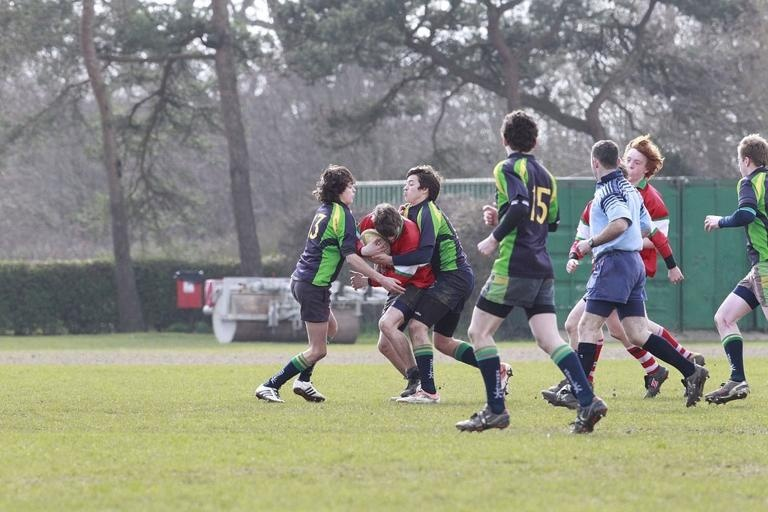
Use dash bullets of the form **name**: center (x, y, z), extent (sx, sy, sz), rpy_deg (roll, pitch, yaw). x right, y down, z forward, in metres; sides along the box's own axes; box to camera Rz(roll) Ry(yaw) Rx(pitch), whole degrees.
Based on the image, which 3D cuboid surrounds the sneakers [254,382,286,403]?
- **sneakers**: center (-1.738, 2.007, 20.305), extent (0.534, 0.253, 0.182), rpy_deg (12, -9, -7)

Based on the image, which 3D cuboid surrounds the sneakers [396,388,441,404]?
- **sneakers**: center (0.490, 2.068, 20.313), extent (0.646, 0.267, 0.238), rpy_deg (1, -13, 3)
